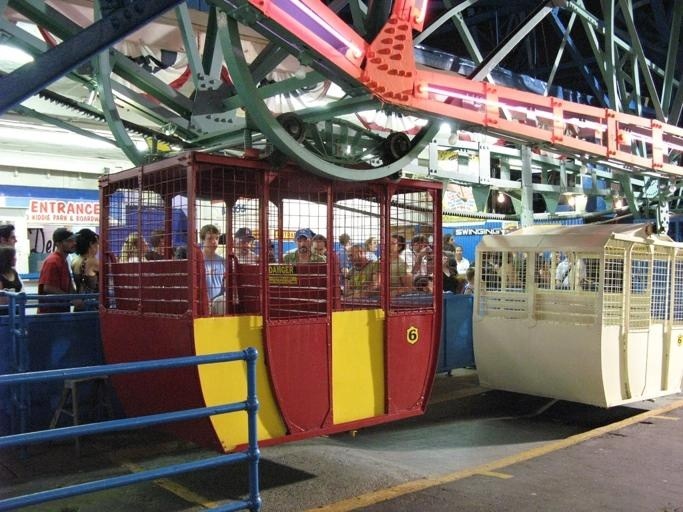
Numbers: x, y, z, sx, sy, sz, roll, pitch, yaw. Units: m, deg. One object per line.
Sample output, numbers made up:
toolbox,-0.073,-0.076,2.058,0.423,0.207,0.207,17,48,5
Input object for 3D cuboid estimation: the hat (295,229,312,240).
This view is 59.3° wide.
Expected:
hat,-0.474,-0.272,7.555,0.130,0.095,0.187,-1,-19,-1

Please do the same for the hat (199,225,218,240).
hat,-1.564,-0.288,7.079,0.214,0.184,0.146,-1,1,-15

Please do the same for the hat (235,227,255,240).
hat,-1.100,-0.252,6.780,0.134,0.084,0.179,4,-6,-38

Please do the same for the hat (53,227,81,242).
hat,-4.205,-0.318,9.202,0.351,0.192,0.230,-7,13,-40
